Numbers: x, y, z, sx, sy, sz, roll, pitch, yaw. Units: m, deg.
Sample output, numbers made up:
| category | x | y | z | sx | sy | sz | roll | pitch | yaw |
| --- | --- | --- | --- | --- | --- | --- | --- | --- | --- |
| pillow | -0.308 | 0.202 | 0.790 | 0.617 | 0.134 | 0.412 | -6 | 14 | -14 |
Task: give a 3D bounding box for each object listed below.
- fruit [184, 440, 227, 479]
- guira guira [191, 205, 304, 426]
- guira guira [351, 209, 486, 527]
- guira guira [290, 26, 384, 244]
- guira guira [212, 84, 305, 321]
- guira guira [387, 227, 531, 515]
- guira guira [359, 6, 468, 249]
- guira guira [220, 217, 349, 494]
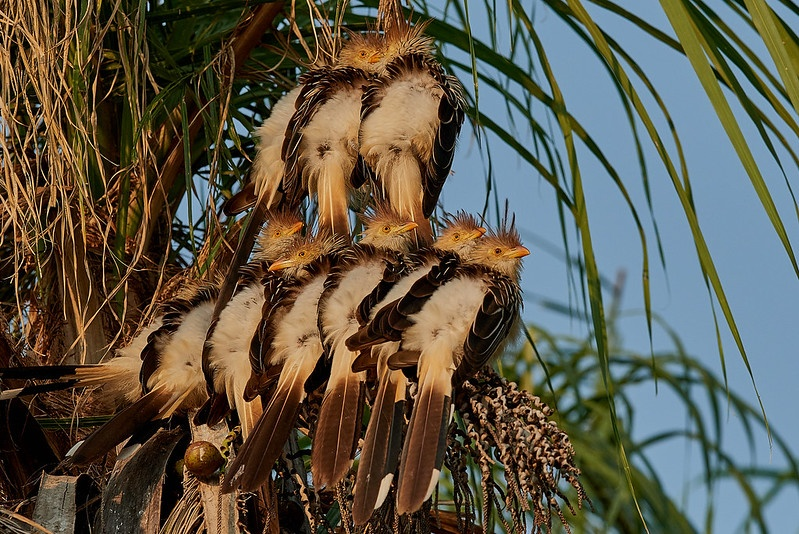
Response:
| category | x | y | z | sx | sy | sz | roll | pitch | yaw |
| --- | --- | --- | --- | --- | --- | --- | --- | --- | --- |
| fruit | -0.479 | 0.470 | 3.633 | 0.084 | 0.085 | 0.072 | -2 | 10 | 19 |
| guira guira | -0.373 | 0.142 | 3.718 | 0.124 | 0.518 | 0.298 | 6 | -20 | 46 |
| guira guira | 0.064 | 0.286 | 3.652 | 0.206 | 0.959 | 0.347 | 3 | -20 | 9 |
| guira guira | -0.182 | -0.336 | 3.887 | 0.171 | 0.628 | 0.320 | 2 | 14 | -2 |
| guira guira | -0.367 | -0.147 | 3.868 | 0.122 | 0.612 | 0.234 | 18 | 0 | -2 |
| guira guira | 0.132 | 0.246 | 3.514 | 0.167 | 0.644 | 0.251 | 11 | -17 | 47 |
| guira guira | 0.024 | -0.387 | 3.881 | 0.198 | 0.750 | 0.424 | 1 | 17 | -1 |
| guira guira | -0.270 | 0.157 | 3.681 | 0.178 | 0.780 | 0.277 | 11 | -9 | 26 |
